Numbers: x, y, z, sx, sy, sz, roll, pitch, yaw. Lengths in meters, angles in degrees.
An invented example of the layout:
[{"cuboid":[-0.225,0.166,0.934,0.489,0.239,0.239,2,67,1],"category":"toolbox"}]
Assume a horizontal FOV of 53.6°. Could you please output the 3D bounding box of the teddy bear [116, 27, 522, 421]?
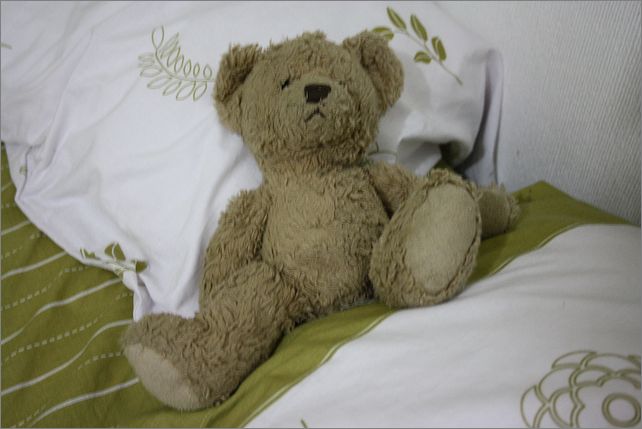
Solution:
[{"cuboid":[0.003,-0.037,1.381,0.820,0.566,0.743,-12,99,2],"category":"teddy bear"}]
